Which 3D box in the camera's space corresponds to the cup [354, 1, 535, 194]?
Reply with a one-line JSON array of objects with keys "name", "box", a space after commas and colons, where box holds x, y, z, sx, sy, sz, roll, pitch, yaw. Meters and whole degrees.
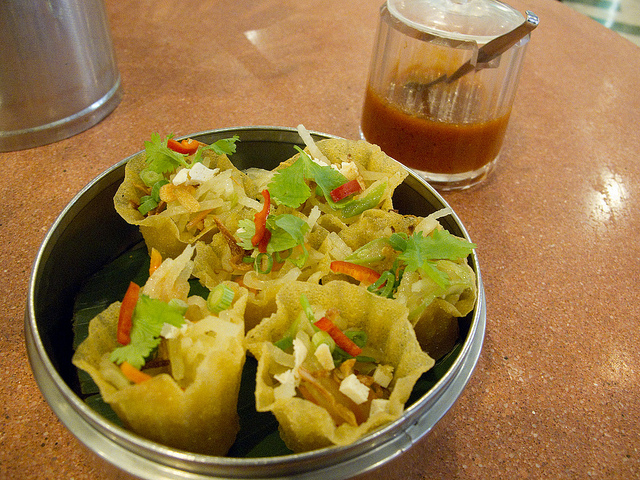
[{"name": "cup", "box": [0.257, -0.432, 1.423, 0.363, 0.495, 0.485, -16, 45, -22]}]

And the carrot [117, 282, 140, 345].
[{"name": "carrot", "box": [-0.321, 0.129, 0.933, 0.028, 0.028, 0.109, 4, 79, 32]}]
